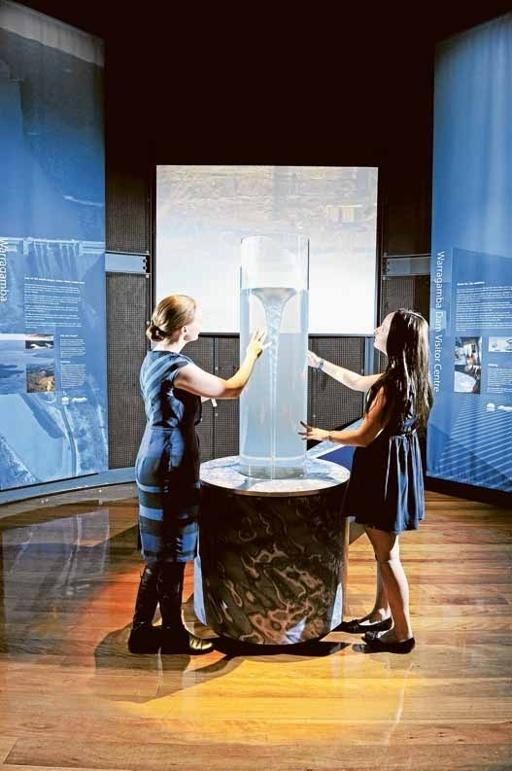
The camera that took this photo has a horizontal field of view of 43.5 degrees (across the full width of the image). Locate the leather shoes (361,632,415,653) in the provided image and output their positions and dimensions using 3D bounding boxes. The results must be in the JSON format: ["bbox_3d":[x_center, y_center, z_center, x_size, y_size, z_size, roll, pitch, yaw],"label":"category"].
[{"bbox_3d":[0.523,1.018,2.594,0.219,0.086,0.075,3,-4,16],"label":"leather shoes"}]

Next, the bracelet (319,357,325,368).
[{"bbox_3d":[0.283,-0.095,2.816,0.028,0.045,0.040,0,0,0],"label":"bracelet"}]

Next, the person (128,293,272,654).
[{"bbox_3d":[-0.276,0.359,2.462,0.566,1.402,0.246,3,6,31],"label":"person"}]

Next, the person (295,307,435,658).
[{"bbox_3d":[0.477,0.385,2.512,0.387,1.352,0.267,1,5,15],"label":"person"}]

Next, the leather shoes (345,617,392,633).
[{"bbox_3d":[0.468,1.014,2.696,0.188,0.056,0.073,1,-6,2],"label":"leather shoes"}]
